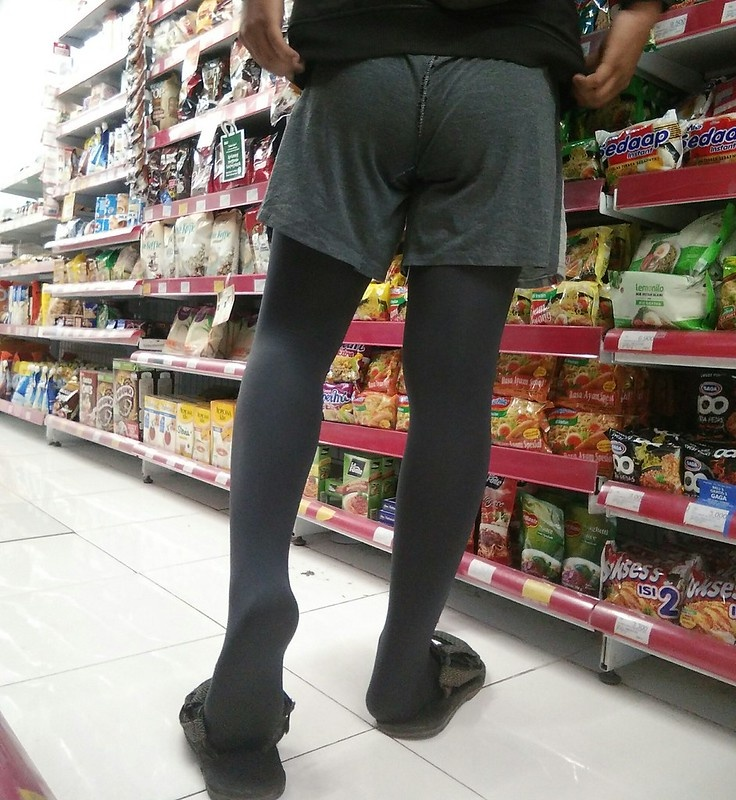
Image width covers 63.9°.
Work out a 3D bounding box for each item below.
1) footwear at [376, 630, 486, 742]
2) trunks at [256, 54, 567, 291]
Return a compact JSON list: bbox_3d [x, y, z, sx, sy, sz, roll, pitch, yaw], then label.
[{"bbox_3d":[0.118,0.468,1.028,0.127,0.071,0.213,16,27,28],"label":"footwear"},{"bbox_3d":[0.058,-0.280,0.720,0.318,0.251,0.120,6,26,7],"label":"trunks"}]
